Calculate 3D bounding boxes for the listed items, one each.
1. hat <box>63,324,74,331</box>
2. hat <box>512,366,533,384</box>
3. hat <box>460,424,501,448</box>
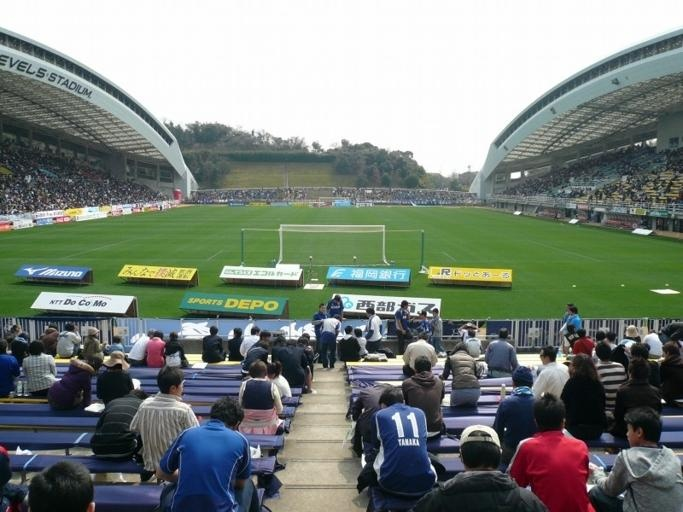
[{"bbox_3d":[-6.681,1.787,17.999,0.214,0.153,0.210,-8,21,-35],"label":"hat"},{"bbox_3d":[3.071,2.031,12.433,0.359,0.331,0.296,5,-6,-8],"label":"hat"},{"bbox_3d":[1.876,2.458,10.078,0.526,0.268,0.472,3,-6,3],"label":"hat"}]
